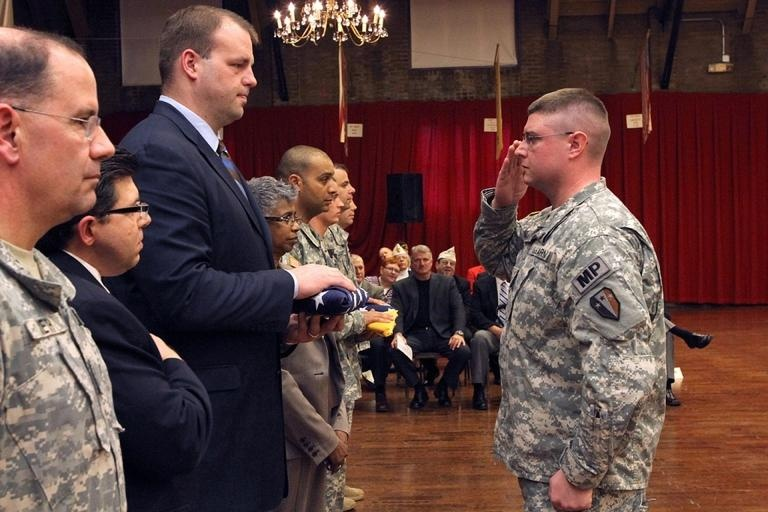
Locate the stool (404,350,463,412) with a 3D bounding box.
[{"bbox_3d":[0.495,1.101,6.603,0.498,0.514,0.578,0,13,9],"label":"stool"}]

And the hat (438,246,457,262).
[{"bbox_3d":[0.732,-0.024,8.135,0.259,0.182,0.172,10,-5,5],"label":"hat"}]
